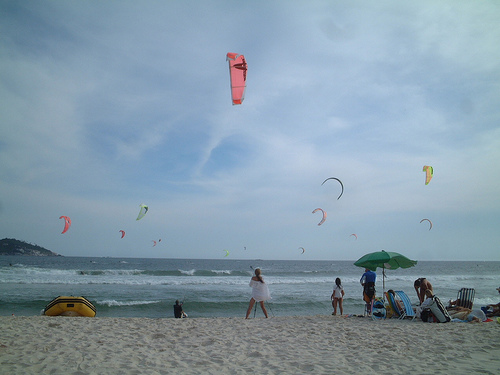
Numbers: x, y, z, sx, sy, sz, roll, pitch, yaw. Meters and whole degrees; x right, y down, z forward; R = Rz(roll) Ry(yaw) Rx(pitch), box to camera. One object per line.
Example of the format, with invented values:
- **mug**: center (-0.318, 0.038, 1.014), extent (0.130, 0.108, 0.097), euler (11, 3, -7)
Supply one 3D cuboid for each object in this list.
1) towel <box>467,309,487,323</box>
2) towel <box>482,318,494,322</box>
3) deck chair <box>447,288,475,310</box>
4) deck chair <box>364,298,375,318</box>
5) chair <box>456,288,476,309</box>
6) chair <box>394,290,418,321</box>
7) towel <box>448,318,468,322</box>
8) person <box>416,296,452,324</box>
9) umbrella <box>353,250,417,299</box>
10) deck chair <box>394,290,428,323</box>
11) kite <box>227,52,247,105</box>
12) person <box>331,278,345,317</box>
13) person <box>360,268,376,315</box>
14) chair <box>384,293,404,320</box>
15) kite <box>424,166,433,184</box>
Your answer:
- **towel**: center (6.721, 3.789, 12.057), extent (0.409, 0.291, 0.766), euler (-7, -12, 42)
- **towel**: center (7.002, 3.910, 11.978), extent (0.478, 0.035, 0.169), euler (5, -10, -28)
- **deck chair**: center (7.032, 3.715, 13.642), extent (0.599, 0.701, 1.023), euler (-14, 24, 39)
- **deck chair**: center (3.658, 3.683, 12.551), extent (0.302, 0.597, 1.008), euler (-1, -9, 11)
- **chair**: center (7.112, 3.652, 13.482), extent (0.529, 0.601, 1.426), euler (-3, -9, 26)
- **chair**: center (4.730, 3.529, 12.301), extent (0.479, 0.917, 0.382), euler (-4, -8, -5)
- **towel**: center (6.078, 3.862, 11.859), extent (0.555, 0.067, 0.316), euler (0, -9, 5)
- **person**: center (5.411, 3.589, 12.058), extent (1.028, 0.787, 0.756), euler (-3, -8, 34)
- **umbrella**: center (4.237, 2.774, 12.824), extent (1.786, 1.619, 1.830), euler (-1, 4, 34)
- **deck chair**: center (4.781, 3.553, 12.230), extent (0.755, 0.776, 1.229), euler (0, -8, 3)
- **kite**: center (-0.335, -2.484, 9.625), extent (0.407, 1.158, 0.957), euler (1, -8, -4)
- **person**: center (2.898, 3.610, 13.438), extent (0.360, 1.285, 1.625), euler (-1, -8, 11)
- **person**: center (3.577, 3.137, 12.309), extent (0.393, 1.369, 0.662), euler (-1, -8, 15)
- **chair**: center (4.367, 3.605, 12.288), extent (0.261, 0.725, 0.513), euler (-19, 4, -7)
- **kite**: center (6.168, -0.475, 14.050), extent (0.215, 0.606, 0.893), euler (-2, -9, 20)
